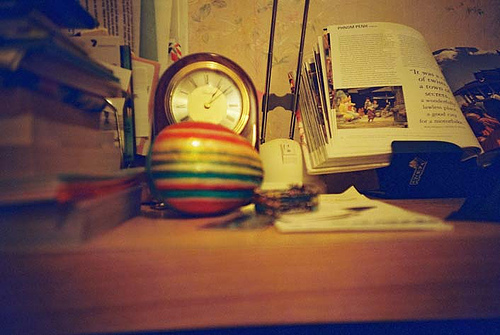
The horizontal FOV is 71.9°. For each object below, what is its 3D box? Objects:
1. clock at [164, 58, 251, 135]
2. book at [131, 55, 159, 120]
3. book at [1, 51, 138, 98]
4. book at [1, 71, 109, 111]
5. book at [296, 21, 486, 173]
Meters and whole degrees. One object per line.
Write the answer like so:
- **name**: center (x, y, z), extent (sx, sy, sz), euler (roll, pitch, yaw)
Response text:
- **clock**: center (-0.080, -0.142, 0.669), extent (0.159, 0.149, 0.041), euler (-12, -4, -14)
- **book**: center (-0.195, -0.145, 0.638), extent (0.044, 0.116, 0.126), euler (3, 7, -8)
- **book**: center (-0.197, -0.101, 0.376), extent (0.151, 0.012, 0.028), euler (13, -37, -43)
- **book**: center (-0.200, -0.078, 0.348), extent (0.046, 0.011, 0.053), euler (17, 5, 37)
- **book**: center (0.246, -0.111, 0.675), extent (0.338, 0.317, 0.118), euler (-7, -13, -3)
